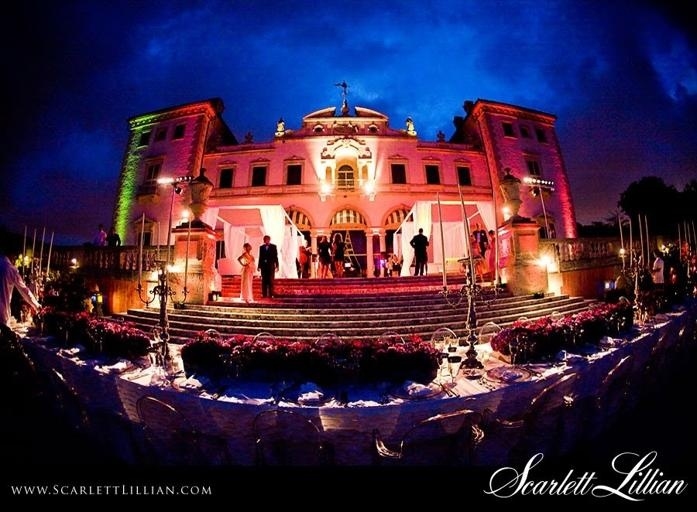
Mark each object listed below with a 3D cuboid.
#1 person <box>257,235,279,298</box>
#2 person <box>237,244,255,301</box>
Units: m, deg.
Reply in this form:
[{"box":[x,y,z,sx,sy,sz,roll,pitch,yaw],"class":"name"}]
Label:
[{"box":[-2.116,0.323,11.741,0.517,1.827,1.496,-3,15,-10],"class":"person"},{"box":[-2.560,0.531,11.103,0.373,1.508,1.788,-4,15,-14],"class":"person"}]
